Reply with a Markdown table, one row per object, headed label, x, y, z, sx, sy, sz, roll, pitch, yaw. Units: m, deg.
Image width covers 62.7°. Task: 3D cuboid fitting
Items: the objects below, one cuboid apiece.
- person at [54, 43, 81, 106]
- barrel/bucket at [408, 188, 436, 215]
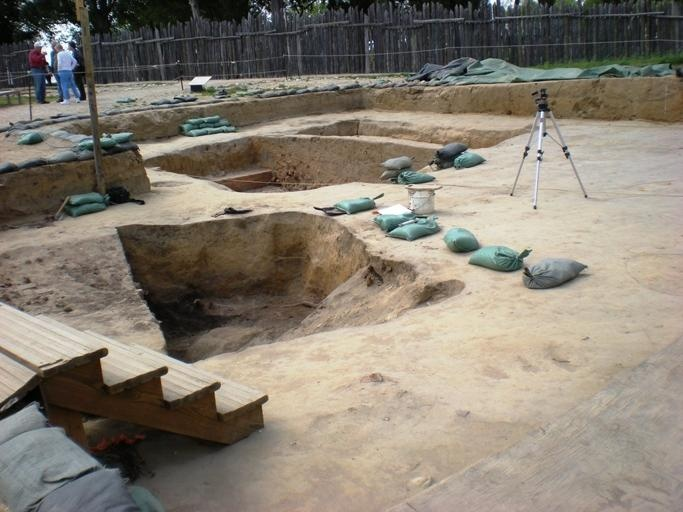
| label | x | y | z | sx | sy | sz | roll | pitch | yaw |
| --- | --- | --- | --- | --- | --- | --- | --- | --- | --- |
| person | -7.877 | -5.160 | 16.142 | 0.692 | 1.505 | 0.954 | -13 | 21 | -17 |
| barrel/bucket | 1.039 | -0.749 | 7.668 | 0.489 | 0.300 | 0.383 | -5 | 16 | -10 |
